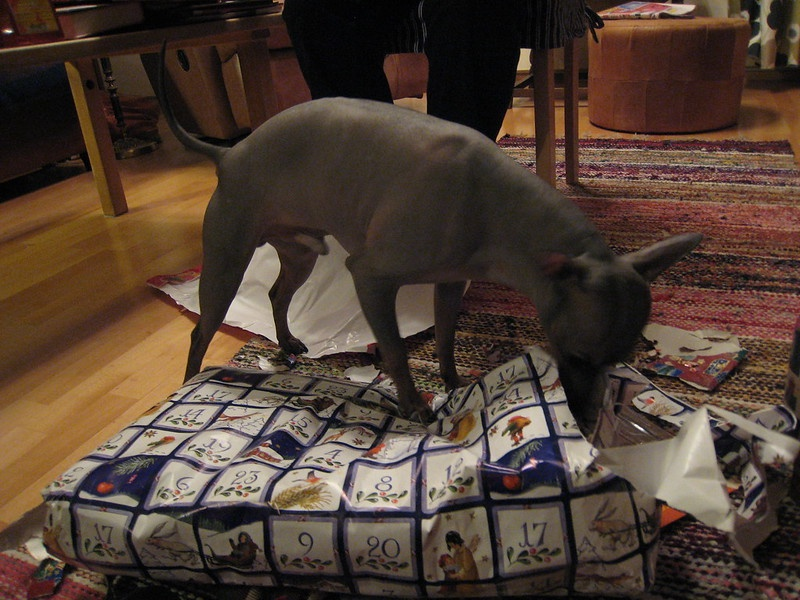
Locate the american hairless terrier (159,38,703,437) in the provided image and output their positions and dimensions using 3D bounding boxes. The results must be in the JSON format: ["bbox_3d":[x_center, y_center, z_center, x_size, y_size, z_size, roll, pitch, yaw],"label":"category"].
[{"bbox_3d":[-0.044,-0.100,0.898,0.843,0.377,0.234,15,38,21],"label":"american hairless terrier"}]

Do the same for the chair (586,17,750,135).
[{"bbox_3d":[1.250,-1.079,2.662,0.743,0.437,0.697,-20,31,-27],"label":"chair"}]
